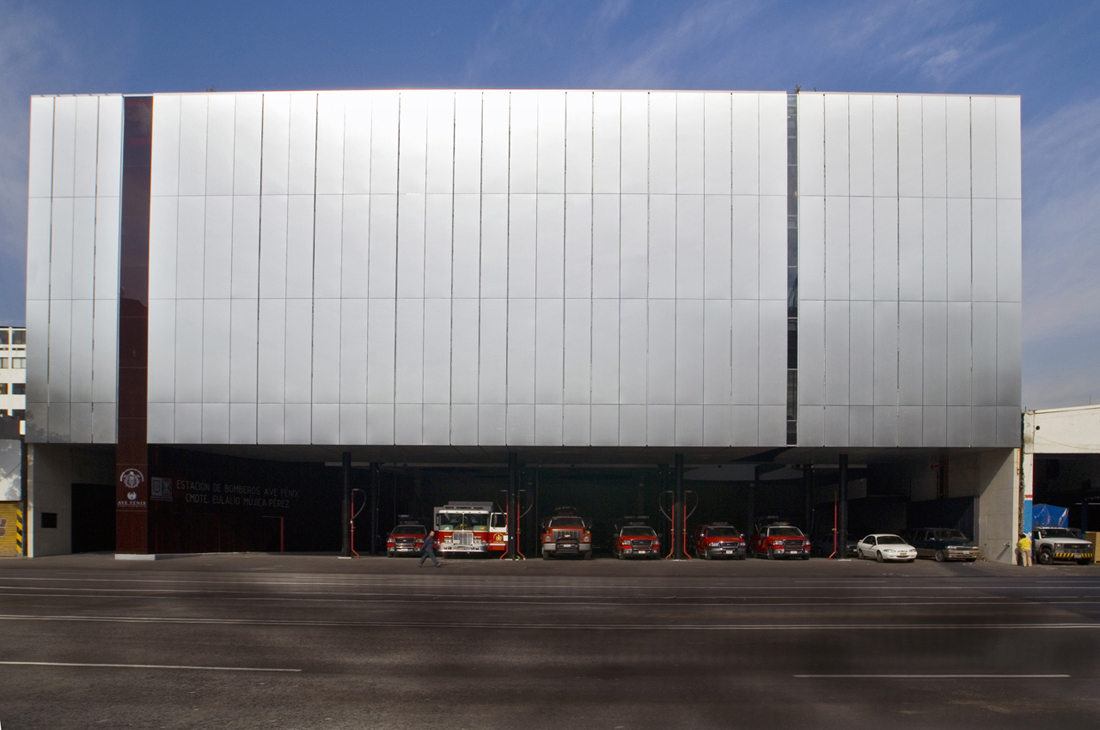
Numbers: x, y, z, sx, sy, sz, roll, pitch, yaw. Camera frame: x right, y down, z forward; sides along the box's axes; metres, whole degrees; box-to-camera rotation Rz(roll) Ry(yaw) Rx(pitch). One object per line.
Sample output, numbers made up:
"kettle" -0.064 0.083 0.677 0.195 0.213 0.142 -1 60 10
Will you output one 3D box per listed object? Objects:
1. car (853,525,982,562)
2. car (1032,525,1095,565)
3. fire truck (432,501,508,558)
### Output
"car" 19.918 9.635 74.655 5.898 1.684 3.017 -1 -5 8
"car" 26.716 9.466 73.193 3.136 1.908 1.763 0 -5 2
"fire truck" -4.265 8.954 75.365 3.813 2.827 1.318 0 -4 1
